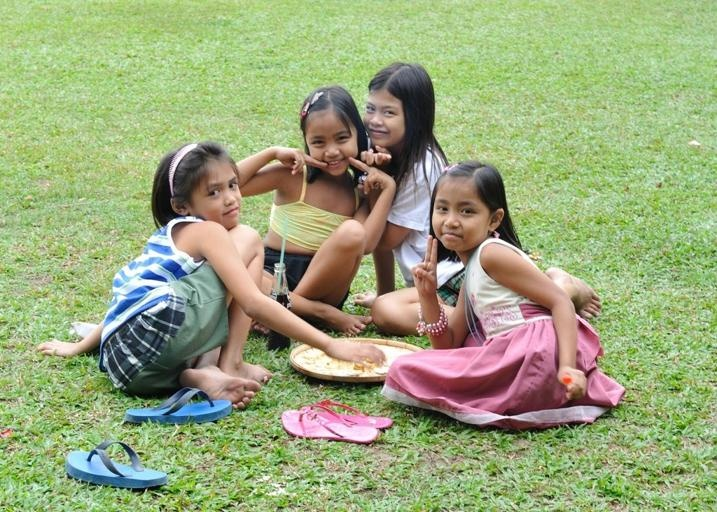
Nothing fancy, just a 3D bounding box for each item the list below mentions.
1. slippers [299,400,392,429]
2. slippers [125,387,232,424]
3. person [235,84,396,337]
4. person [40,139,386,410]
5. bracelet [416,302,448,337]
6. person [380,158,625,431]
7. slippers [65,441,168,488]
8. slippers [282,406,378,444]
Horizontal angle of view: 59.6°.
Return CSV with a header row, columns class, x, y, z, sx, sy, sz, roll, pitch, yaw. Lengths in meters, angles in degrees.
class,x,y,z,sx,sy,sz,roll,pitch,yaw
slippers,-0.060,0.611,2.479,0.360,0.069,0.126,9,5,11
slippers,-0.686,0.590,2.417,0.315,0.086,0.158,-1,11,-7
person,-0.299,-0.258,3.387,0.986,1.162,0.734,5,13,-3
person,-0.790,0.076,2.737,1.703,0.993,0.669,7,7,31
bracelet,0.329,0.296,2.780,0.137,0.164,0.078,-4,-8,11
person,0.620,0.159,2.743,1.034,1.031,1.088,-6,-8,39
slippers,-0.813,0.709,2.083,0.317,0.098,0.162,10,17,25
slippers,-0.123,0.653,2.381,0.287,0.061,0.142,10,13,23
